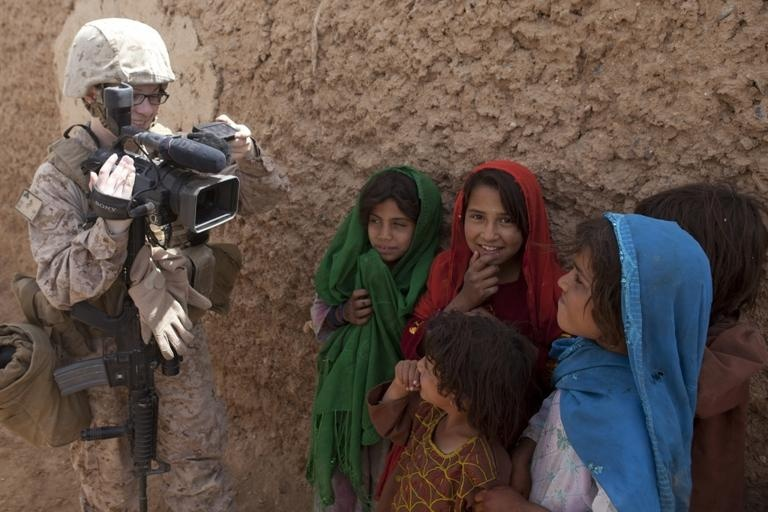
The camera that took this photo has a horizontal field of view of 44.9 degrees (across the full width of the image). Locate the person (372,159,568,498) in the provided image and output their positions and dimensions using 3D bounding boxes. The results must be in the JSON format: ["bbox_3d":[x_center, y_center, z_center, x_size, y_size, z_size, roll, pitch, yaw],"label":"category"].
[{"bbox_3d":[0.485,0.499,4.606,0.787,1.928,0.754,2,7,-7],"label":"person"}]

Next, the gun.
[{"bbox_3d":[-1.324,0.527,4.546,0.698,1.647,0.423,2,15,-10],"label":"gun"}]

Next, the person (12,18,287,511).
[{"bbox_3d":[-1.192,0.175,4.484,1.144,2.497,0.675,5,14,-12],"label":"person"}]

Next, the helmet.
[{"bbox_3d":[-1.269,-0.945,4.460,0.523,0.380,0.532,4,18,0],"label":"helmet"}]

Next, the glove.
[{"bbox_3d":[-0.988,0.217,4.307,0.390,0.482,0.235,-12,7,-42],"label":"glove"}]
